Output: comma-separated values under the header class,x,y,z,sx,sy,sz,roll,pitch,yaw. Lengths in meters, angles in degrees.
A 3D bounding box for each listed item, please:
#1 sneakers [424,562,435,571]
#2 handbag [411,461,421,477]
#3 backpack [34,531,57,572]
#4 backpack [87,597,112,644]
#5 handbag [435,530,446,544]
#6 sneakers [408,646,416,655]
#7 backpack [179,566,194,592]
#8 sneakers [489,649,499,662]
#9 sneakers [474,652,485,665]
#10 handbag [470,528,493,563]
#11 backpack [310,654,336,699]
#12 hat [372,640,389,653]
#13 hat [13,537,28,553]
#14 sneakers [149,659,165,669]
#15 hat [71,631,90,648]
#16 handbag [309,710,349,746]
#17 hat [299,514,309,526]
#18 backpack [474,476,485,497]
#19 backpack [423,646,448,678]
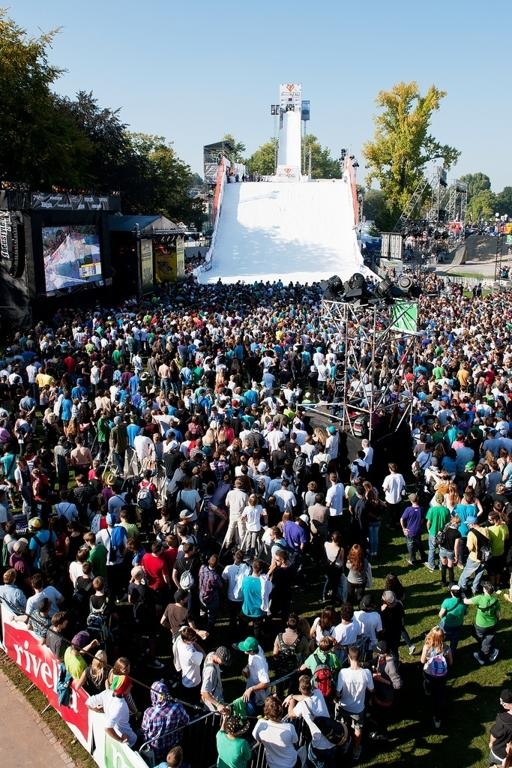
class,x,y,z,sx,sy,sz,roll,pitch,yaw
sneakers,2.149,2.282,9.351,0.053,0.055,0.131,0,13,-15
handbag,2.254,1.215,10.548,0.111,0.225,0.166,-6,-9,5
backpack,-2.215,1.745,7.795,0.252,0.391,0.454,-4,11,-17
backpack,-1.409,2.118,6.722,0.203,0.436,0.242,-3,10,-10
handbag,2.091,1.752,8.533,0.046,0.135,0.098,9,-9,-1
sneakers,1.568,2.690,7.558,0.074,0.057,0.172,24,3,13
backpack,-0.654,1.860,7.098,0.177,0.178,0.060,-2,-2,19
sneakers,2.390,2.732,7.528,0.076,0.175,0.060,5,-13,1
sneakers,2.241,2.767,7.552,0.042,0.122,0.049,-16,-12,15
handbag,2.458,1.766,8.149,0.286,0.387,0.145,-4,11,-15
backpack,0.534,2.365,5.979,0.198,0.265,0.265,-2,-5,-3
hat,1.076,2.290,6.517,0.113,0.099,0.081,16,-29,4
hat,-2.370,1.642,7.591,0.105,0.057,0.146,-20,30,3
sneakers,-0.965,2.760,7.371,0.159,0.066,0.058,3,7,13
hat,-1.521,2.234,6.491,0.064,0.136,0.240,2,10,17
handbag,0.580,2.656,5.715,0.322,0.310,0.097,-6,12,-29
hat,0.558,1.616,8.897,0.103,0.114,0.191,-3,10,-10
backpack,2.864,1.346,9.614,0.137,0.362,0.341,2,11,17
backpack,1.566,2.418,6.526,0.209,0.288,0.152,-1,10,1
